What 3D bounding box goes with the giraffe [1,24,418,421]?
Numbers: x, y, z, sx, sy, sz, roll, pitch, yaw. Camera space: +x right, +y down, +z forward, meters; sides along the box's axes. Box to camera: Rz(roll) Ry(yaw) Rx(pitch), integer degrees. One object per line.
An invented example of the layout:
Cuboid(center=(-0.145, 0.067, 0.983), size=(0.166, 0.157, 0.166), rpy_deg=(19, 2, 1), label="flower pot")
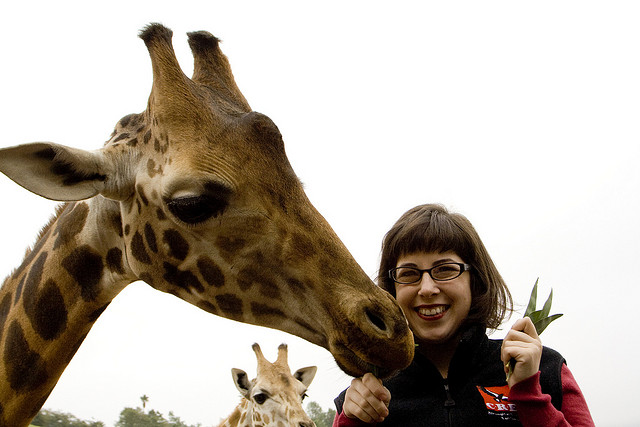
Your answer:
Cuboid(center=(-1.029, -0.060, 5.484), size=(3.301, 2.660, 1.792), rpy_deg=(-7, -43, 15), label="giraffe")
